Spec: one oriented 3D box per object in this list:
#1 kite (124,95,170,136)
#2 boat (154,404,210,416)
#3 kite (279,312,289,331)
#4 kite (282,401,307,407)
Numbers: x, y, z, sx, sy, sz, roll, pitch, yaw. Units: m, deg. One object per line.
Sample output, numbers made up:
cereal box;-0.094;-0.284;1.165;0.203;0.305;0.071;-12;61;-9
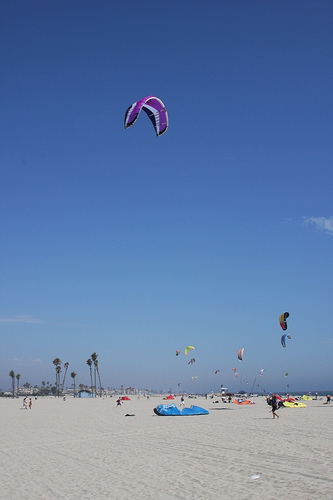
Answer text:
kite;-0.701;-5.947;22.392;1.140;2.364;1.686;20;-8;-39
boat;1.020;10.344;31.255;3.403;0.825;1.559;3;-18;-14
kite;8.468;5.165;35.471;0.409;1.107;1.059;1;-12;2
kite;10.778;13.136;41.816;2.662;0.387;1.006;11;-15;-38
